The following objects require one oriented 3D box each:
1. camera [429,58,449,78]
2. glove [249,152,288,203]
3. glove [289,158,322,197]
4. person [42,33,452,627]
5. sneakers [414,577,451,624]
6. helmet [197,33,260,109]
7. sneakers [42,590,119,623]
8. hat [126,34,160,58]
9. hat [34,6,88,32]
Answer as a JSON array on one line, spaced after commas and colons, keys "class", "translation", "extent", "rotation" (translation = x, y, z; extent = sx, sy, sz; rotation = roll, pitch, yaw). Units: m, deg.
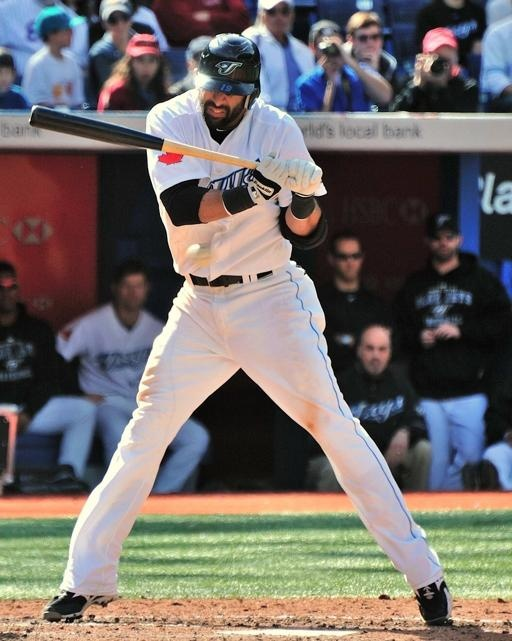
[{"class": "camera", "translation": [0.853, -1.188, 4.517], "extent": [0.091, 0.095, 0.047], "rotation": [6, -6, -10]}, {"class": "glove", "translation": [0.035, -0.343, 2.325], "extent": [0.108, 0.110, 0.050], "rotation": [4, 2, -9]}, {"class": "glove", "translation": [0.123, -0.352, 2.398], "extent": [0.086, 0.086, 0.045], "rotation": [-6, -5, -11]}, {"class": "person", "translation": [-0.085, 0.026, 2.522], "extent": [1.006, 1.568, 0.402], "rotation": [-5, 8, -4]}, {"class": "sneakers", "translation": [0.439, 0.723, 2.498], "extent": [0.059, 0.069, 0.152], "rotation": [-21, 44, 14]}, {"class": "helmet", "translation": [-0.063, -0.651, 2.537], "extent": [0.161, 0.173, 0.144], "rotation": [11, -11, 1]}, {"class": "sneakers", "translation": [-0.456, 0.716, 2.430], "extent": [0.204, 0.083, 0.062], "rotation": [2, -1, -24]}, {"class": "hat", "translation": [-0.555, -1.365, 4.823], "extent": [0.157, 0.084, 0.196], "rotation": [2, 12, -7]}, {"class": "hat", "translation": [-0.985, -1.680, 5.336], "extent": [0.449, 0.105, 0.238], "rotation": [-4, 23, -3]}]
